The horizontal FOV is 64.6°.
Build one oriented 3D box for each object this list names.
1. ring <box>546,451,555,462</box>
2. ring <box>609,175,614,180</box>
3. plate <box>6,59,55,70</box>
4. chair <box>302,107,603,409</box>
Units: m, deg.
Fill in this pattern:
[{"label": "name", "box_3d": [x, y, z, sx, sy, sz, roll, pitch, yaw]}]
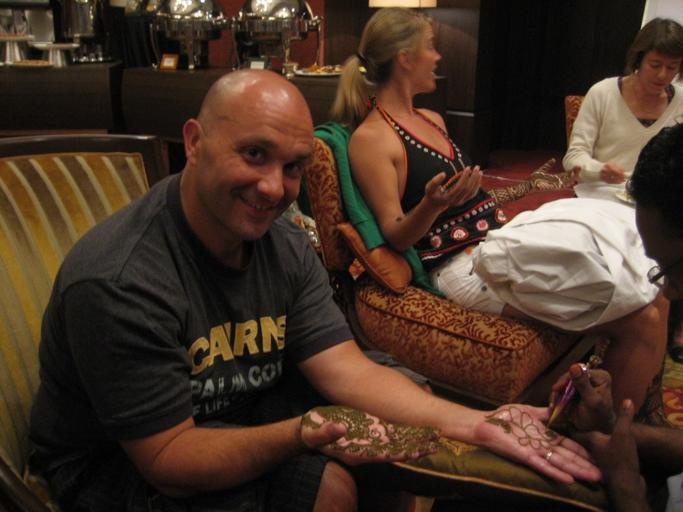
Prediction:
[{"label": "ring", "box_3d": [0.439, 0.419, 1.133, 0.013, 0.004, 0.013, -24, 15, 7]}, {"label": "ring", "box_3d": [1.375, -0.405, 2.756, 0.021, 0.022, 0.005, 6, 7, 24]}, {"label": "plate", "box_3d": [-2.052, -1.256, 3.529, 0.318, 0.069, 0.160, 6, 15, 17]}, {"label": "chair", "box_3d": [0.486, 0.129, 2.194, 0.874, 0.649, 0.821, -8, 14, -42]}]
